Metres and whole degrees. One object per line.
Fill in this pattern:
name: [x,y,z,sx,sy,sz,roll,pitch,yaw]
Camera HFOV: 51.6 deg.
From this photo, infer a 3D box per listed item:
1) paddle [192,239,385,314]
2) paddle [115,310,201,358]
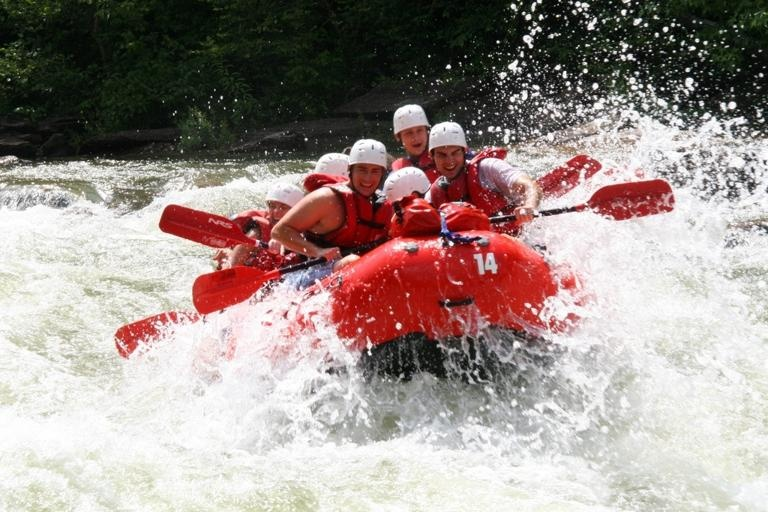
paddle: [-0.883,0.105,7.604,2.248,0.106,0.373,-14,70,17]
paddle: [-2.291,0.756,8.212,0.063,0.338,1.319,-28,-1,23]
